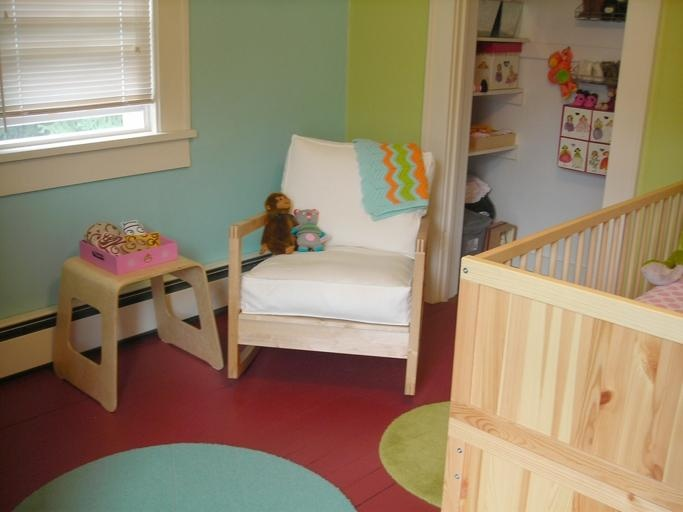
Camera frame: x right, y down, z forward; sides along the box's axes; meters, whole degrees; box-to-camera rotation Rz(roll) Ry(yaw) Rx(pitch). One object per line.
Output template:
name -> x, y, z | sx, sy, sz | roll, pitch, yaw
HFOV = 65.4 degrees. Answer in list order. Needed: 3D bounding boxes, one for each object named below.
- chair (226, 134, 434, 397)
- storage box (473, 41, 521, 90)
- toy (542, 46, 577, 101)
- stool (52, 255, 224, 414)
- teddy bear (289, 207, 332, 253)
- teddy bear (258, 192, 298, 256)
chair -> 0.002, -0.044, 2.863 | 1.001, 1.171, 1.260 | 6, 16, 15
storage box -> 1.124, -1.346, 3.760 | 0.232, 0.282, 0.297 | -2, 21, -2
toy -> 1.493, -1.226, 3.547 | 0.108, 0.300, 0.202 | -9, 23, -23
stool -> -0.975, 0.298, 2.546 | 0.510, 0.548, 0.630 | 15, 17, 34
teddy bear -> -0.162, -0.127, 2.793 | 0.204, 0.099, 0.226 | 4, 62, -19
teddy bear -> -0.360, -0.173, 2.817 | 0.247, 0.345, 0.242 | -7, 9, -35
